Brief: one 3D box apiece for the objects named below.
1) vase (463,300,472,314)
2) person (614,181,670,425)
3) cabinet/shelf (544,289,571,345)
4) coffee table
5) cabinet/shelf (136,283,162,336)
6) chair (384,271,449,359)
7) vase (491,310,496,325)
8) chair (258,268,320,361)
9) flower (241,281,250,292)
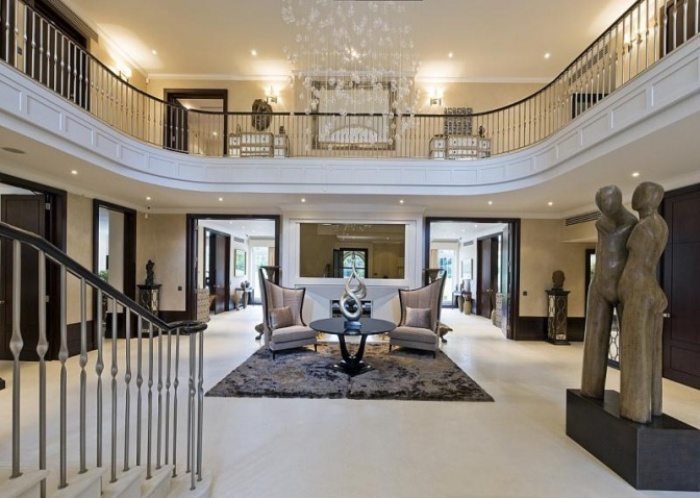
[{"bbox_3d":[3.484,1.707,15.183,0.153,0.391,0.332,-4,-9,35],"label":"vase"},{"bbox_3d":[3.657,0.648,6.449,0.601,2.960,0.340,-3,-7,25],"label":"person"},{"bbox_3d":[4.503,1.452,11.032,0.445,1.152,0.422,1,-3,-4],"label":"cabinet/shelf"},{"bbox_3d":[0.083,1.545,8.920,0.997,0.577,1.028,2,3,40],"label":"coffee table"},{"bbox_3d":[-4.371,1.326,11.249,0.277,1.126,0.531,0,-1,0],"label":"cabinet/shelf"},{"bbox_3d":[1.335,1.218,9.906,1.080,1.637,1.069,8,-7,-24],"label":"chair"},{"bbox_3d":[3.583,1.698,12.839,0.097,0.393,0.309,-1,-8,11],"label":"vase"},{"bbox_3d":[-1.255,1.244,9.967,0.950,1.630,1.080,-2,-10,-20],"label":"chair"},{"bbox_3d":[-3.275,1.162,16.152,0.190,0.223,0.304,2,1,-2],"label":"flower"}]
